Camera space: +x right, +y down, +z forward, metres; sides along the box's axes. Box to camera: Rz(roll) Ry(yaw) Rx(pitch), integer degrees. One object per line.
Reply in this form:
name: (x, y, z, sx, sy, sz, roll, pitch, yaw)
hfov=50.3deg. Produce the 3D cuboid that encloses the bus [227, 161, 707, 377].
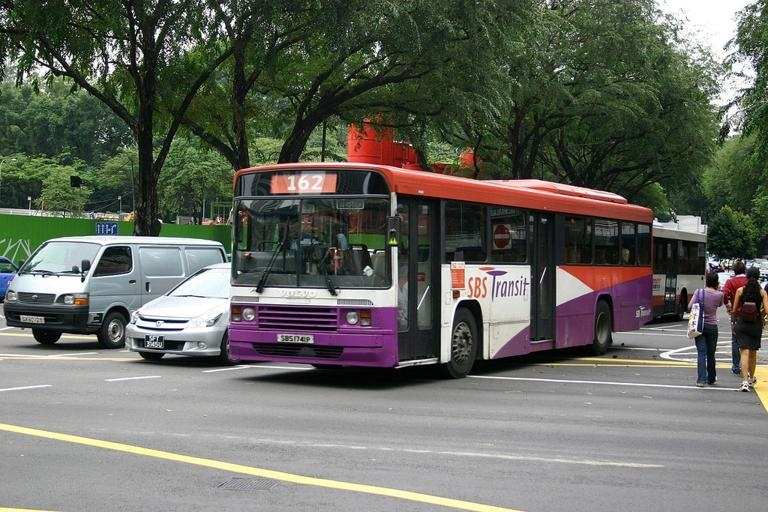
bus: (2.153, 0.514, 19.135, 3.553, 3.824, 12.371, -2, -5, 39)

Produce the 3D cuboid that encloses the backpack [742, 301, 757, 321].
backpack: (6.823, 1.007, 15.097, 0.290, 0.338, 0.190, 0, -14, 18)

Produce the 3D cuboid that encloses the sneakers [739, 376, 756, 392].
sneakers: (6.914, 2.401, 15.385, 0.207, 0.287, 0.659, -3, -9, 27)

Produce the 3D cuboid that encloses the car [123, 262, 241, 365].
car: (-4.270, 1.287, 17.237, 2.129, 1.950, 1.992, 0, 3, -33)
